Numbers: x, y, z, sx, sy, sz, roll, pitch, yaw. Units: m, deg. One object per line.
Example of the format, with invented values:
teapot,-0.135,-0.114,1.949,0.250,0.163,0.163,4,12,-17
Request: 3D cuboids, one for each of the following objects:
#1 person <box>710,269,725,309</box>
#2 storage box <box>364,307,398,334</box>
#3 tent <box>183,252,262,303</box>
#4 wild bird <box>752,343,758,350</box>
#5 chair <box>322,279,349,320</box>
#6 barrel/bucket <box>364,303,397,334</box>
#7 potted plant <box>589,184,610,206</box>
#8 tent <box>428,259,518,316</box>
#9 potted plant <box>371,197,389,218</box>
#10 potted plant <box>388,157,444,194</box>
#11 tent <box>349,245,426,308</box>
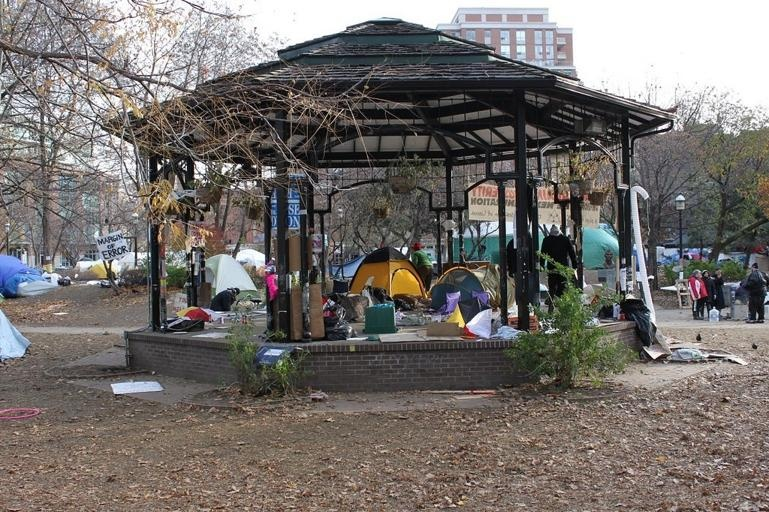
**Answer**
person,11.478,1.145,26.766,0.584,1.202,0.598,0,23,36
storage box,-0.089,1.394,16.837,0.564,0.603,0.488,0,-4,-2
tent,-5.394,0.739,27.104,1.591,1.419,1.623,1,0,-29
wild bird,9.093,2.226,19.130,0.138,0.116,0.161,-2,-9,16
chair,-1.174,1.047,18.376,0.408,0.495,0.761,-18,6,2
barrel/bucket,-0.114,1.336,16.709,0.592,0.546,0.613,-1,-3,0
potted plant,5.381,-1.510,19.447,0.562,0.608,0.488,3,4,25
tent,2.162,0.753,19.326,1.675,0.700,1.204,2,2,42
potted plant,-0.072,-1.356,21.895,0.493,0.500,0.438,-1,4,-25
potted plant,0.796,-2.285,21.671,1.378,1.120,2.149,1,14,8
tent,0.131,0.461,20.544,1.541,1.313,1.560,1,3,41
